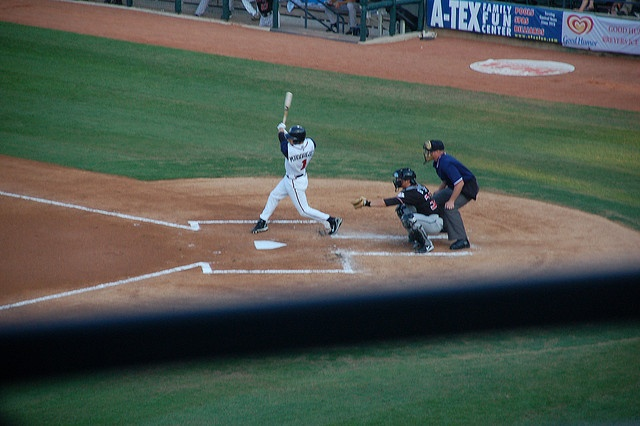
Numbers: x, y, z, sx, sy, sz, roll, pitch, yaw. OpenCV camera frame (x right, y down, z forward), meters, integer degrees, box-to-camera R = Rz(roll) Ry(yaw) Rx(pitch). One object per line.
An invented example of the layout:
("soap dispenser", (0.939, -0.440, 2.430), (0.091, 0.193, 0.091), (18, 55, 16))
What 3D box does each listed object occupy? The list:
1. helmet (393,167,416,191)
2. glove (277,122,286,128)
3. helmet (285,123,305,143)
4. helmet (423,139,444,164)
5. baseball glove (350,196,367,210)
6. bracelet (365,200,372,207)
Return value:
("helmet", (1.925, -0.829, 23.023), (0.511, 0.462, 0.423), (7, 6, 15))
("glove", (-0.918, -2.044, 23.189), (0.216, 0.107, 0.266), (4, 10, 4))
("helmet", (-0.566, -1.858, 22.908), (0.425, 0.402, 0.327), (9, 53, 8))
("helmet", (2.563, -1.448, 23.072), (0.600, 0.574, 0.467), (2, 6, 1))
("baseball glove", (0.867, -0.265, 22.660), (0.334, 0.341, 0.446), (1, 16, -1))
("bracelet", (1.063, -0.243, 22.505), (0.123, 0.121, 0.035), (2, -21, 3))
